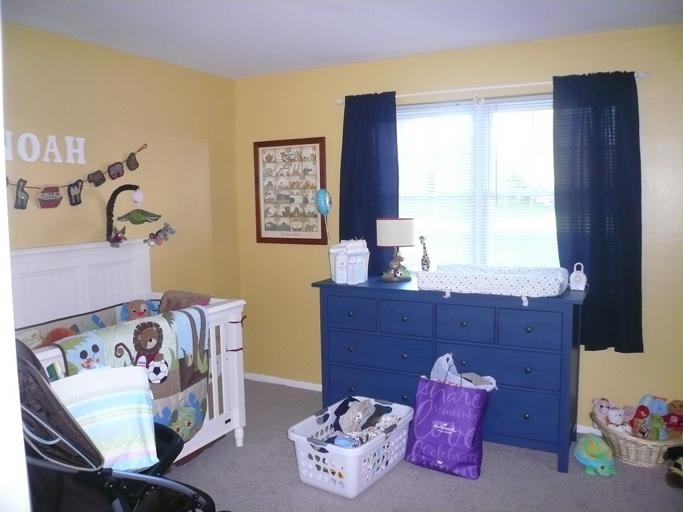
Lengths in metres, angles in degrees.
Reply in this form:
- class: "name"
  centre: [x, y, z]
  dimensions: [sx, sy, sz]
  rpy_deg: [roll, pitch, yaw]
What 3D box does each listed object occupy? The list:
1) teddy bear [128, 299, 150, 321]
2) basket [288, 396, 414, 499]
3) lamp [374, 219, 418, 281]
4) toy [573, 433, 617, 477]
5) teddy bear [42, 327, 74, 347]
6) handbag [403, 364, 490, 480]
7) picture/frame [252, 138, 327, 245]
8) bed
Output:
- class: "teddy bear"
  centre: [-1.430, 0.379, 3.808]
  dimensions: [0.094, 0.187, 0.124]
  rpy_deg: [-1, 1, 43]
- class: "basket"
  centre: [0.105, 1.194, 3.428]
  dimensions: [0.452, 0.300, 0.635]
  rpy_deg: [0, 2, 35]
- class: "lamp"
  centre: [0.409, -0.055, 3.999]
  dimensions: [0.266, 0.471, 0.297]
  rpy_deg: [2, 10, 16]
- class: "toy"
  centre: [1.627, 1.259, 3.473]
  dimensions: [0.246, 0.175, 0.243]
  rpy_deg: [4, 11, 25]
- class: "teddy bear"
  centre: [-1.720, 0.471, 3.259]
  dimensions: [0.159, 0.091, 0.223]
  rpy_deg: [0, 1, -14]
- class: "handbag"
  centre: [0.685, 1.075, 3.455]
  dimensions: [0.519, 0.705, 0.190]
  rpy_deg: [10, -3, 35]
- class: "picture/frame"
  centre: [-0.425, -0.584, 4.700]
  dimensions: [0.837, 1.100, 0.045]
  rpy_deg: [3, 9, 28]
- class: "bed"
  centre: [-1.279, 0.620, 3.555]
  dimensions: [0.795, 1.290, 1.300]
  rpy_deg: [3, 6, 34]
